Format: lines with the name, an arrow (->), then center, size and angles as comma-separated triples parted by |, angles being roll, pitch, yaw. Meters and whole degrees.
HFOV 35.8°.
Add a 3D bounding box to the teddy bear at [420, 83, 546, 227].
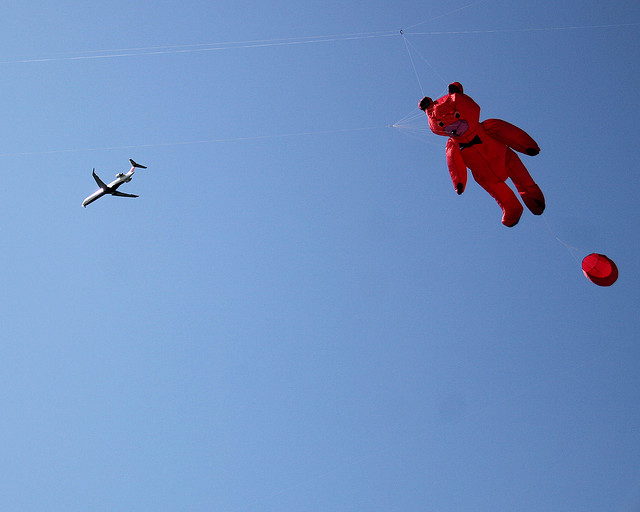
teddy bear -> 1.152, -0.706, 6.758 | 0.628, 0.306, 1.114 | -28, -74, 29
